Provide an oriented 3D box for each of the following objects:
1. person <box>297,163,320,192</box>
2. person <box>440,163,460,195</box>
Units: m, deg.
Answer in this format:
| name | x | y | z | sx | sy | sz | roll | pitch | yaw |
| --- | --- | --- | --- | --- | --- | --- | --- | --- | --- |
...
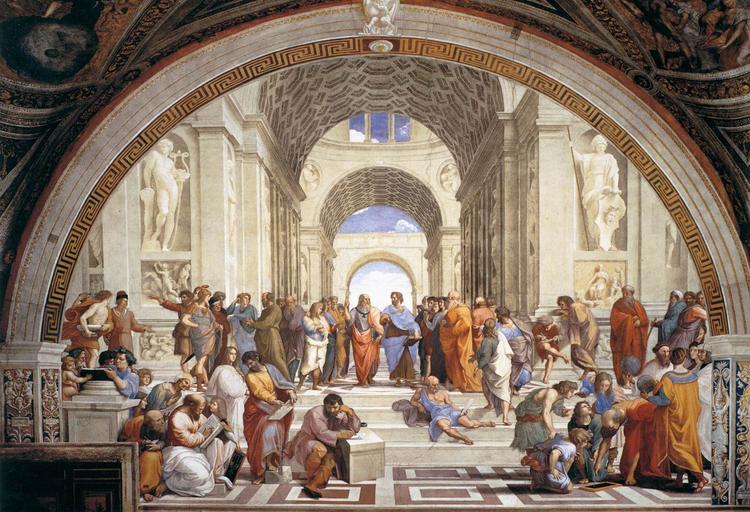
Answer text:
| name | x | y | z | sx | sy | sz | roll | pitch | yaw |
| --- | --- | --- | --- | --- | --- | --- | --- | --- | --- |
| person | -2.329 | -2.763 | 42.113 | 0.682 | 1.036 | 0.381 | -3 | -10 | 16 |
| person | 2.611 | -2.734 | 42.018 | 0.693 | 1.148 | 0.325 | -1 | -10 | 10 |
